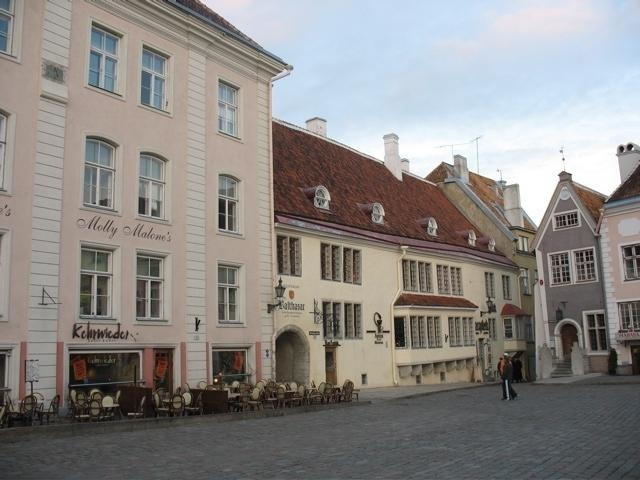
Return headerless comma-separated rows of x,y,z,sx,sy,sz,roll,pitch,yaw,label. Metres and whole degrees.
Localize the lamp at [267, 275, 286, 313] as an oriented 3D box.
-1.944,2.594,27.165,0.913,1.872,1.474,-9,-16,21,lamp
